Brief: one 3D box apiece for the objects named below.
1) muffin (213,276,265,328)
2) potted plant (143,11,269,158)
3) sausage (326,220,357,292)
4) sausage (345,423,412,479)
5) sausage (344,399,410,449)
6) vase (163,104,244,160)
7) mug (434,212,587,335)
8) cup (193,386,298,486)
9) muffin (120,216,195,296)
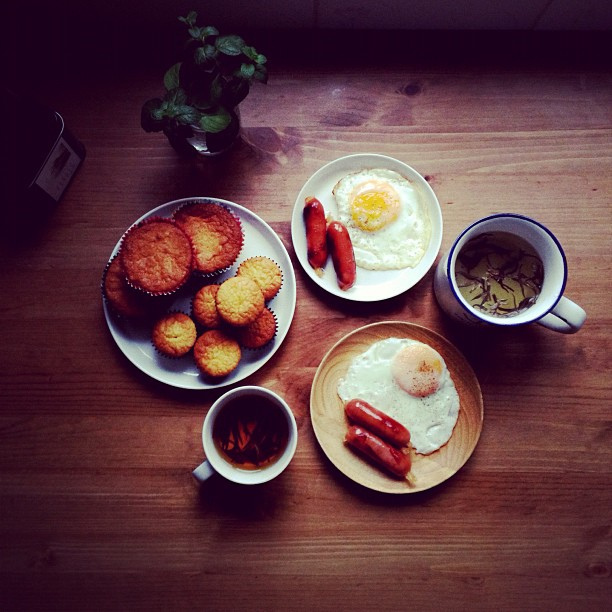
[{"bbox_3d":[-0.223,-0.018,2.084,0.159,0.046,0.161,-35,72,-14],"label":"muffin"},{"bbox_3d":[-0.358,-0.742,2.121,0.306,0.416,0.400,-16,80,8],"label":"potted plant"},{"bbox_3d":[0.129,-0.177,2.210,0.082,0.082,0.255,-7,89,8],"label":"sausage"},{"bbox_3d":[0.251,0.486,2.116,0.255,0.096,0.083,29,69,11],"label":"sausage"},{"bbox_3d":[0.250,0.405,2.145,0.262,0.092,0.108,26,44,10],"label":"sausage"},{"bbox_3d":[-0.355,-0.592,2.156,0.216,0.094,0.208,3,91,1],"label":"vase"},{"bbox_3d":[0.683,-0.081,2.081,0.448,0.310,0.341,-1,67,-1],"label":"mug"},{"bbox_3d":[-0.232,0.412,2.256,0.343,0.432,0.321,-3,99,-20],"label":"cup"},{"bbox_3d":[-0.502,-0.162,2.113,0.226,0.081,0.259,-2,90,-4],"label":"muffin"}]
